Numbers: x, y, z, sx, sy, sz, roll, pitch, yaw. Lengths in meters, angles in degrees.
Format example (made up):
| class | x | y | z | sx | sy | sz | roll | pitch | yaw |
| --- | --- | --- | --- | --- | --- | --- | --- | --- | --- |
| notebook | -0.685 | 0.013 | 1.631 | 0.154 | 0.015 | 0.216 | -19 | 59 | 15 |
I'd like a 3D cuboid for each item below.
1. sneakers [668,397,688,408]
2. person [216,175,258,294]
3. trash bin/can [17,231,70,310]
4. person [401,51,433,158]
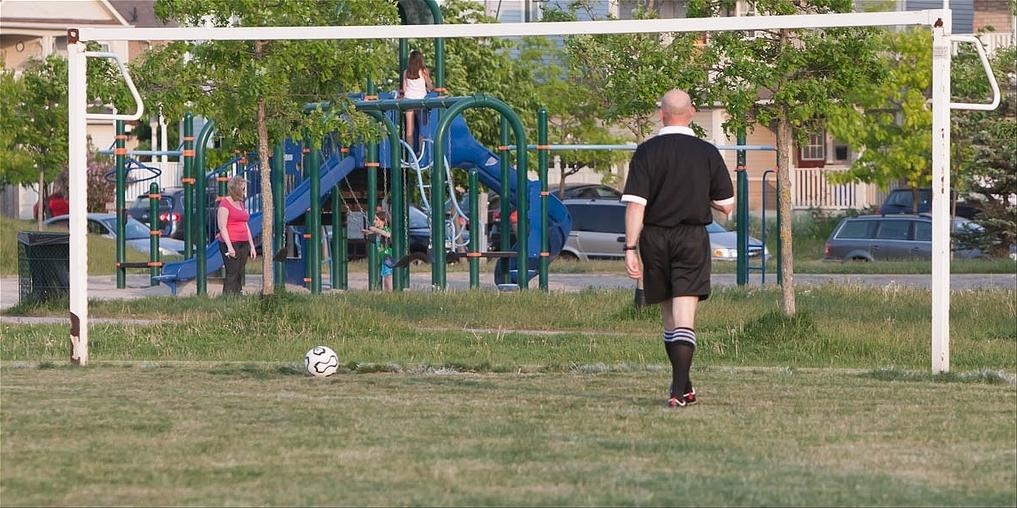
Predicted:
| class | x | y | z | sx | sy | sz | roll | pitch | yaw |
| --- | --- | --- | --- | --- | --- | --- | --- | --- | --- |
| sneakers | 4.092 | 3.658 | 51.769 | 0.428 | 0.243 | 0.121 | -1 | 1 | 6 |
| person | -7.604 | -0.506 | 59.815 | 0.951 | 3.313 | 1.226 | -1 | 1 | -6 |
| trash bin/can | -12.857 | 0.395 | 59.298 | 1.438 | 2.024 | 0.714 | -1 | 1 | -4 |
| person | -2.607 | -4.536 | 62.083 | 0.960 | 2.856 | 0.887 | 0 | 2 | -30 |
